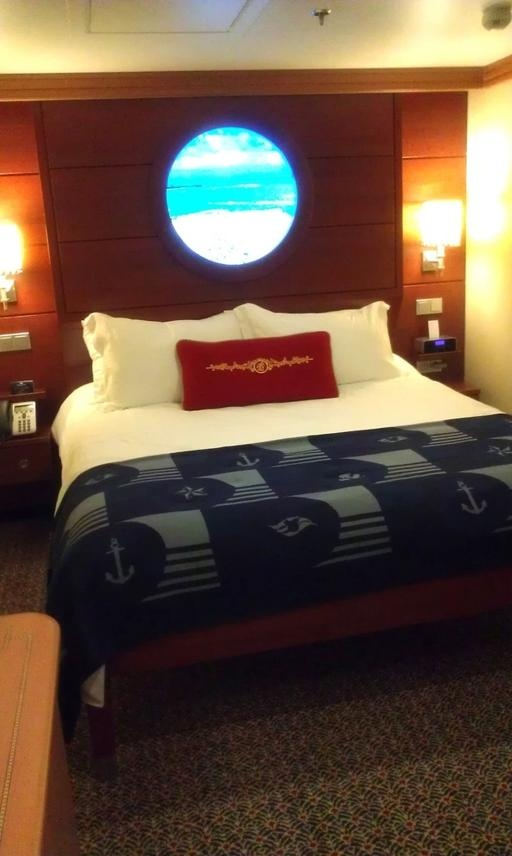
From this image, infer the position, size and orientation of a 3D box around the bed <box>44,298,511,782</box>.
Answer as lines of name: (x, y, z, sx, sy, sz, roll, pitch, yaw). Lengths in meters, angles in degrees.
bed: (-0.095, 0.480, 2.385, 1.472, 0.962, 1.494, -7, 25, -14)
